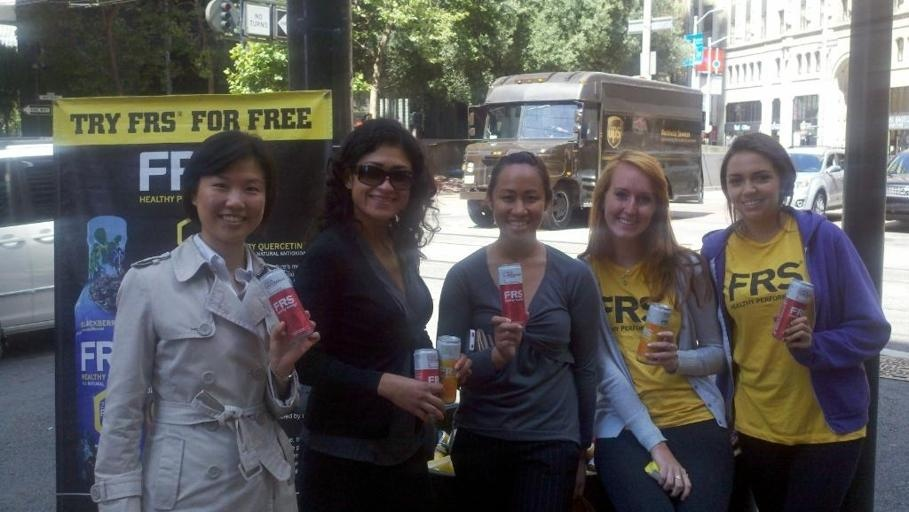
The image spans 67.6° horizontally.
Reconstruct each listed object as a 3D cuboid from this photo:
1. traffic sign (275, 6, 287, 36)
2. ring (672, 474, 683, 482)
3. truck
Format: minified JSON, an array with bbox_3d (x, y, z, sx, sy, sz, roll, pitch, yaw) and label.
[{"bbox_3d":[-2.992,-4.129,11.773,0.155,0.629,1.538,-3,8,-15],"label":"traffic sign"},{"bbox_3d":[1.560,1.548,4.730,0.047,0.032,0.014,-4,-1,-6],"label":"ring"},{"bbox_3d":[4.118,-3.617,22.154,8.405,4.133,4.075,-10,14,-44],"label":"truck"}]
